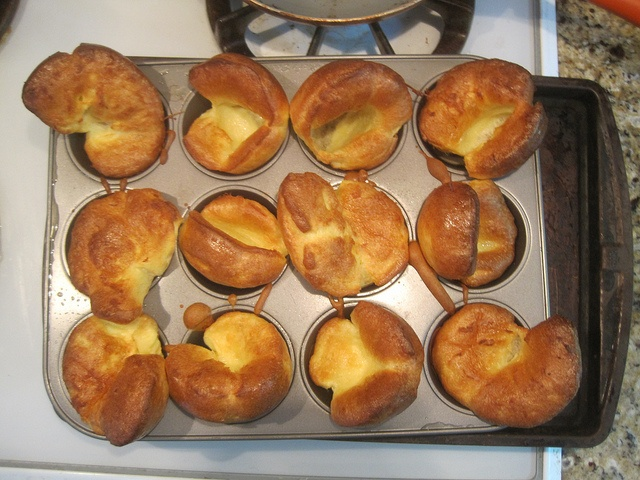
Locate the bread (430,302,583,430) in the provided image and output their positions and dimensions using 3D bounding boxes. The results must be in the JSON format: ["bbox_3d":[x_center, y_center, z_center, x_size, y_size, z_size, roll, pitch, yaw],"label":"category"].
[{"bbox_3d":[0.955,0.652,3.442,0.711,0.339,0.597,13,75,2],"label":"bread"}]

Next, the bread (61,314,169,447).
[{"bbox_3d":[-1.028,0.699,3.576,0.527,0.222,0.676,-30,78,11],"label":"bread"}]

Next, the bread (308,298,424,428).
[{"bbox_3d":[0.247,0.659,3.488,0.594,0.316,0.610,-25,77,-8],"label":"bread"}]

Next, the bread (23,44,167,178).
[{"bbox_3d":[-1.154,-0.694,3.595,0.708,0.414,0.547,39,77,8],"label":"bread"}]

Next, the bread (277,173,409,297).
[{"bbox_3d":[0.128,-0.047,3.519,0.677,0.312,0.640,-7,75,-4],"label":"bread"}]

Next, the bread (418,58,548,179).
[{"bbox_3d":[0.897,-0.696,3.616,0.667,0.353,0.553,38,77,8],"label":"bread"}]

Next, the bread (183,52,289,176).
[{"bbox_3d":[-0.454,-0.694,3.611,0.555,0.373,0.590,9,75,1],"label":"bread"}]

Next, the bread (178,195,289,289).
[{"bbox_3d":[-0.476,0.002,3.649,0.624,0.262,0.592,-11,49,-27],"label":"bread"}]

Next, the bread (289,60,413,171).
[{"bbox_3d":[0.152,-0.691,3.576,0.627,0.422,0.511,23,75,4],"label":"bread"}]
